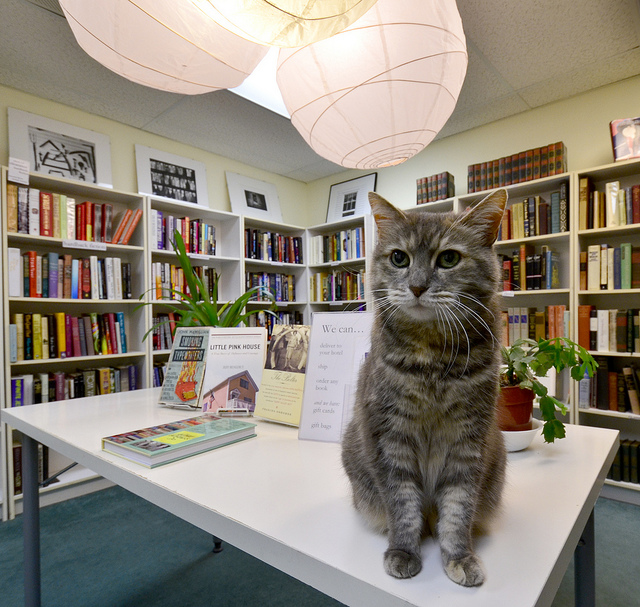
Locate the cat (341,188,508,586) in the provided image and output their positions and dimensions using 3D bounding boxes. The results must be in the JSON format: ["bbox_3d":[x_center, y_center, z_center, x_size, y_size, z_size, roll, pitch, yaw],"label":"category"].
[{"bbox_3d":[0.161,0.102,0.769,0.237,0.561,0.272,2,11,20],"label":"cat"}]

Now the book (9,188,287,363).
[{"bbox_3d":[-1.061,-0.176,2.766,0.174,0.726,1.324,-9,-11,35],"label":"book"}]

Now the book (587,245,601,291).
[{"bbox_3d":[1.489,-0.197,2.628,0.089,0.243,0.262,0,-1,28],"label":"book"}]

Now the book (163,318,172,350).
[{"bbox_3d":[-0.972,0.194,3.074,0.025,0.224,0.182,-12,1,-20],"label":"book"}]

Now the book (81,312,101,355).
[{"bbox_3d":[-1.324,0.176,2.790,0.031,0.257,0.212,-11,-3,-32],"label":"book"}]
